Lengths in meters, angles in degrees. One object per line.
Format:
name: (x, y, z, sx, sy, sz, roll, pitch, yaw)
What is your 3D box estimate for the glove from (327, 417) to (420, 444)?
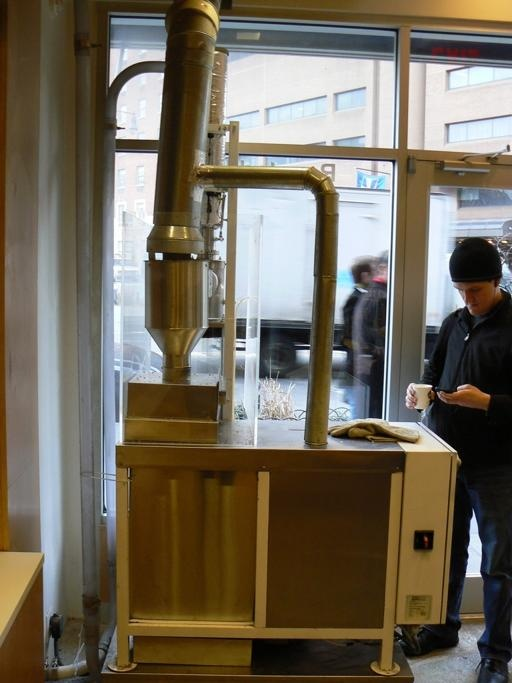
glove: (0.363, 0.270, 2.256, 0.282, 0.050, 0.210, 2, 3, -1)

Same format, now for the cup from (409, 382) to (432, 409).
cup: (0.523, 0.171, 2.353, 0.076, 0.074, 0.075, 1, -5, 0)

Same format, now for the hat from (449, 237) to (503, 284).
hat: (0.732, -0.278, 2.454, 0.152, 0.133, 0.161, -1, -5, 19)

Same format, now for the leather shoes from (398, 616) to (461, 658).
leather shoes: (0.700, 1.118, 2.757, 0.333, 0.137, 0.111, 5, -8, -9)
